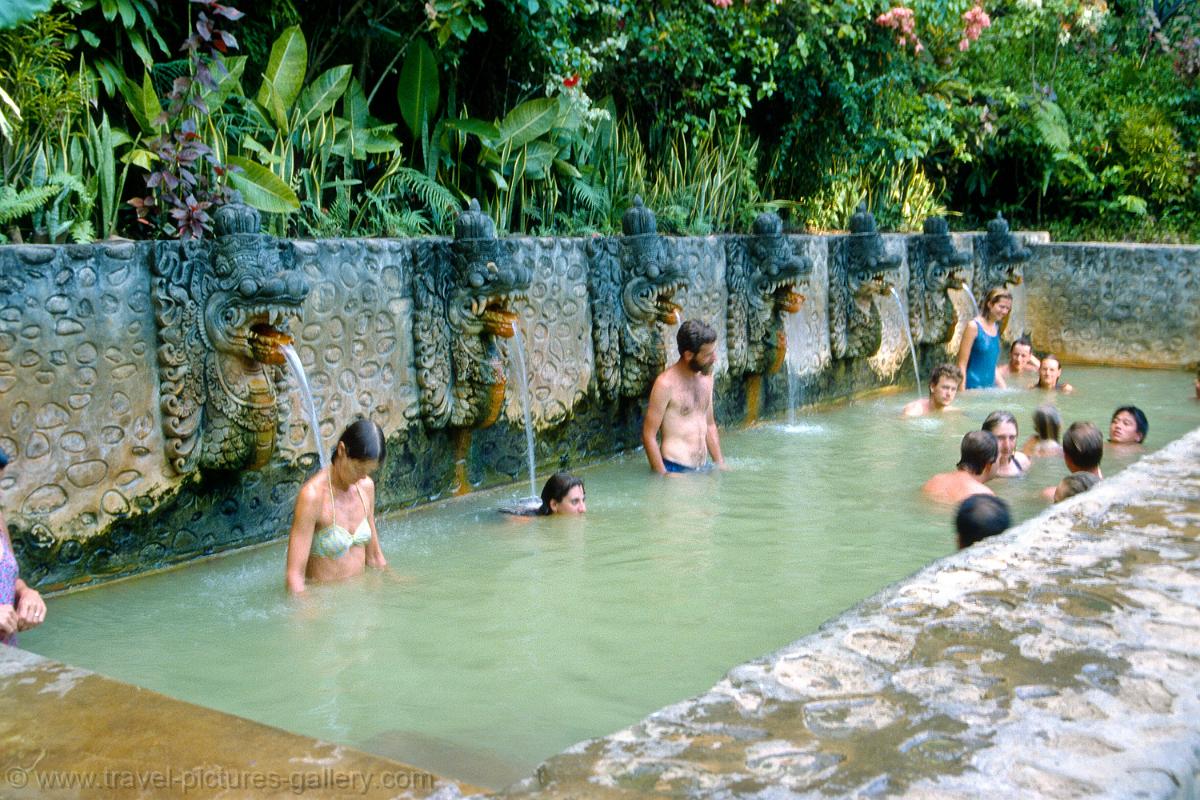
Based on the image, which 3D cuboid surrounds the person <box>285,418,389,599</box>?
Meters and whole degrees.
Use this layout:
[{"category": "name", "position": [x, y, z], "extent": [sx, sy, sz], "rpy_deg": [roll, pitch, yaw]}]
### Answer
[{"category": "person", "position": [-1.670, 0.689, 6.933], "extent": [0.471, 0.987, 0.706], "rpy_deg": [19, 21, 29]}]
